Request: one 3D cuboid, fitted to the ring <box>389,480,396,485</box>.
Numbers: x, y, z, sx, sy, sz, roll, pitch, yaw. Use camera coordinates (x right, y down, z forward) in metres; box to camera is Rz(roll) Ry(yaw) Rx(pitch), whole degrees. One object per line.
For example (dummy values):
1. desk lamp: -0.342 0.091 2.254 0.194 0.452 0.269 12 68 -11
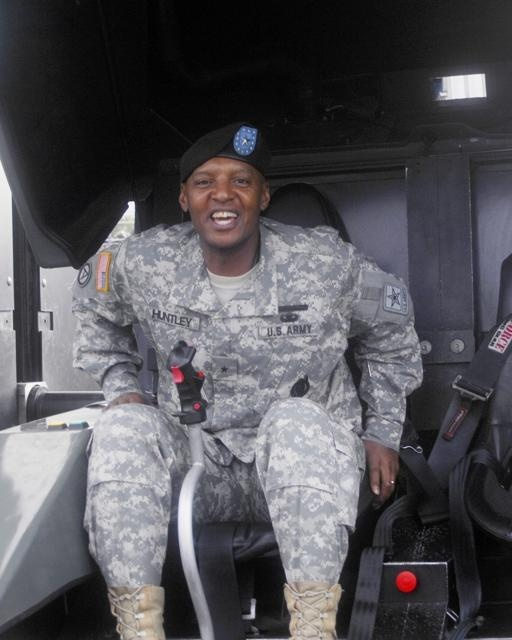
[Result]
1. ring: 0.344 0.413 1.511 0.017 0.008 0.022 5 1 18
